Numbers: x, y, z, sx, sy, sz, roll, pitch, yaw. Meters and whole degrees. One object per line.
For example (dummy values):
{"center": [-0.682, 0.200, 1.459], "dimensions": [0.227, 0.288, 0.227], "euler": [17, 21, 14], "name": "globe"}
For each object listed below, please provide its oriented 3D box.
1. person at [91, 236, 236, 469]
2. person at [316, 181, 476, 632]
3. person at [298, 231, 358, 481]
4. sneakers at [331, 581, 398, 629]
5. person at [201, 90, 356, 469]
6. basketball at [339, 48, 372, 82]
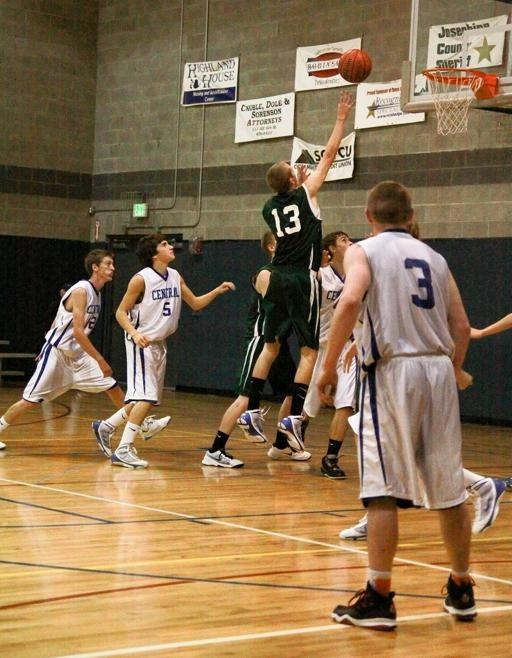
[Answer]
{"center": [-0.729, 0.180, 5.646], "dimensions": [1.005, 1.859, 0.744], "euler": [0, 1, -26], "name": "person"}
{"center": [0.428, 0.221, 2.137], "dimensions": [0.537, 1.262, 0.455], "euler": [1, 0, 35], "name": "person"}
{"center": [0.806, 0.228, 5.719], "dimensions": [0.624, 2.066, 0.620], "euler": [-3, 3, -5], "name": "person"}
{"center": [0.320, 0.794, 1.992], "dimensions": [0.220, 0.144, 0.088], "euler": [0, -11, 30], "name": "sneakers"}
{"center": [0.234, -0.305, 5.303], "dimensions": [0.928, 3.379, 0.934], "euler": [7, 8, 44], "name": "person"}
{"center": [1.040, -2.784, 7.186], "dimensions": [0.296, 0.415, 0.304], "euler": [2, 2, 2], "name": "basketball"}
